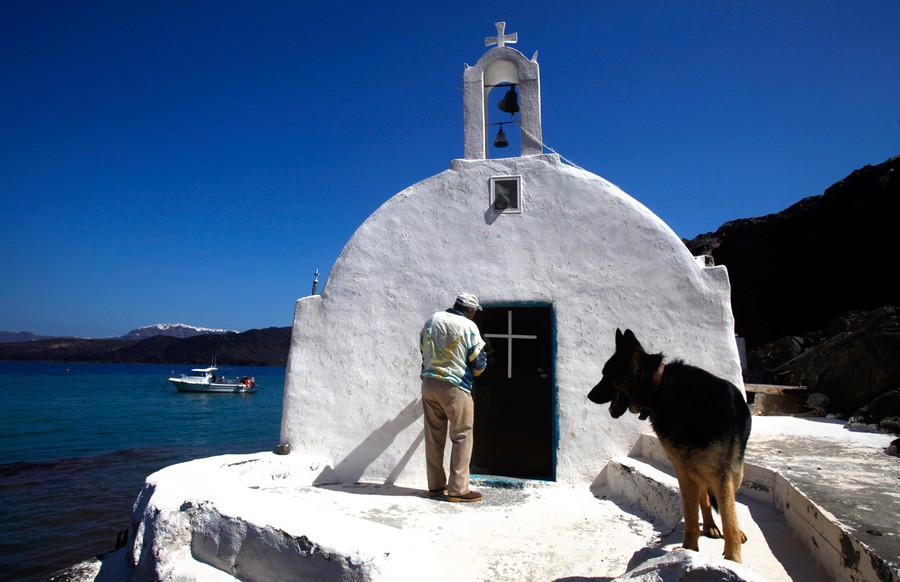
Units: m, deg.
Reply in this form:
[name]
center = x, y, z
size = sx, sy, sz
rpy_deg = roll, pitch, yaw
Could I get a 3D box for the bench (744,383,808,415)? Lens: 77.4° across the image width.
[bench]
center = 6.815, 2.242, 11.716
size = 1.031, 0.706, 0.514
rpy_deg = -1, -3, -5

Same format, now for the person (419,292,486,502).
[person]
center = 0.045, 1.453, 7.802
size = 1.018, 2.635, 0.494
rpy_deg = -8, -2, -2

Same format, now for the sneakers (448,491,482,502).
[sneakers]
center = 0.211, 2.724, 7.555
size = 0.415, 0.187, 0.166
rpy_deg = -2, -7, -2

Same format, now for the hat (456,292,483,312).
[hat]
center = 0.313, 0.164, 7.986
size = 0.227, 0.136, 0.334
rpy_deg = 16, -7, 30
